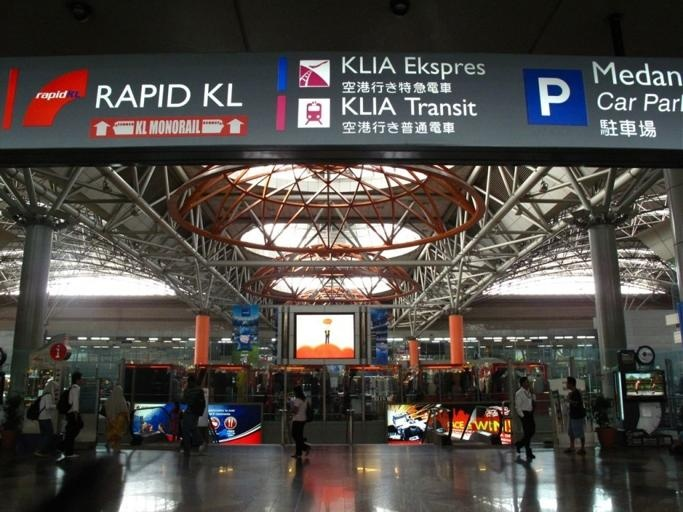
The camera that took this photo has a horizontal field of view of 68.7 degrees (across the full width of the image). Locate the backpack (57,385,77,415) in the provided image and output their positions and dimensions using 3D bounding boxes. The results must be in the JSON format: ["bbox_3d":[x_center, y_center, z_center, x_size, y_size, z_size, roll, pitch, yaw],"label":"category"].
[{"bbox_3d":[-8.033,4.186,14.522,0.258,0.747,0.454,10,-16,-40],"label":"backpack"}]

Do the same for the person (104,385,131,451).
[{"bbox_3d":[-7.235,5.162,16.040,0.783,2.016,0.687,0,-12,0],"label":"person"}]

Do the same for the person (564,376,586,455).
[{"bbox_3d":[7.422,5.013,15.909,0.533,2.345,0.749,-5,-13,21],"label":"person"}]

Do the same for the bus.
[{"bbox_3d":[-0.055,5.625,20.775,11.227,1.651,2.316,0,13,3],"label":"bus"}]

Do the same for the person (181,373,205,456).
[{"bbox_3d":[-4.544,4.801,15.283,0.611,2.324,1.501,3,-12,-15],"label":"person"}]

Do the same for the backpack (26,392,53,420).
[{"bbox_3d":[-8.852,4.406,14.747,0.773,0.740,0.320,-5,-13,23],"label":"backpack"}]
